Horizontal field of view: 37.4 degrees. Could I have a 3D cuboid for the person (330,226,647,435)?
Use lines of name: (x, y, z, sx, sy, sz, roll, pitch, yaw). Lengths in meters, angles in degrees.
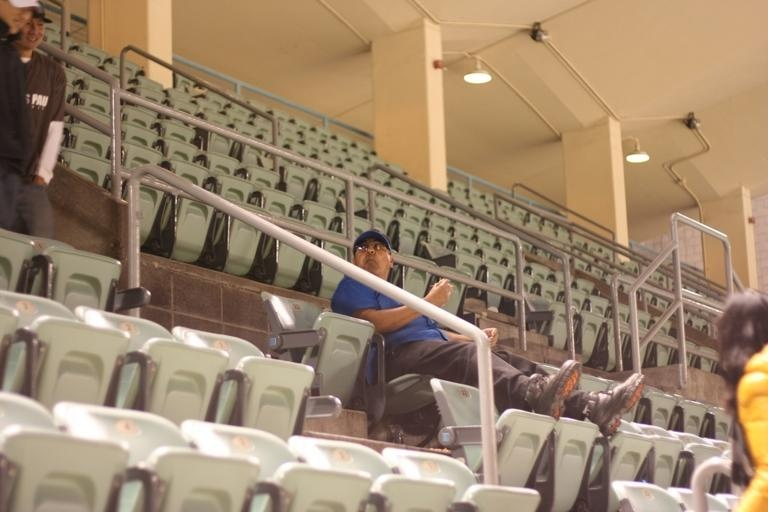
person: (0.591, 0.473, 7.832, 2.217, 1.153, 0.886, 3, -7, 42)
